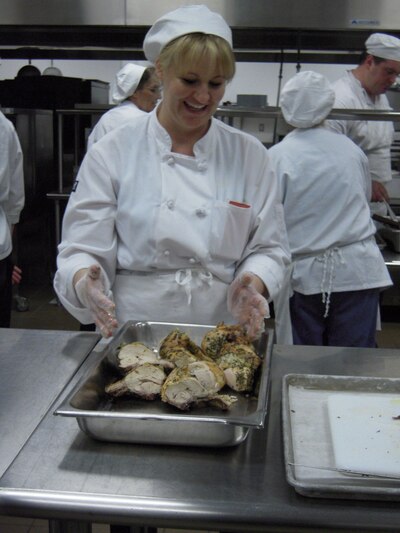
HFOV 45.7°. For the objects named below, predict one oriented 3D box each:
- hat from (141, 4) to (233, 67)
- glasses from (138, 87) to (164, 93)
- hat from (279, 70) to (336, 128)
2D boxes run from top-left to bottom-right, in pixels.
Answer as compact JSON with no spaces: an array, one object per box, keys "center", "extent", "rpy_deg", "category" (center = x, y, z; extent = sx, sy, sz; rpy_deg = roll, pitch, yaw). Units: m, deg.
[{"center":[-0.007,-0.454,0.980],"extent":[0.175,0.068,0.154],"rpy_deg":[-16,10,-37],"category":"hat"},{"center":[-0.266,-0.965,2.589],"extent":[0.092,0.026,0.090],"rpy_deg":[24,29,30],"category":"glasses"},{"center":[0.430,-0.674,1.917],"extent":[0.258,0.234,0.072],"rpy_deg":[2,2,25],"category":"hat"}]
